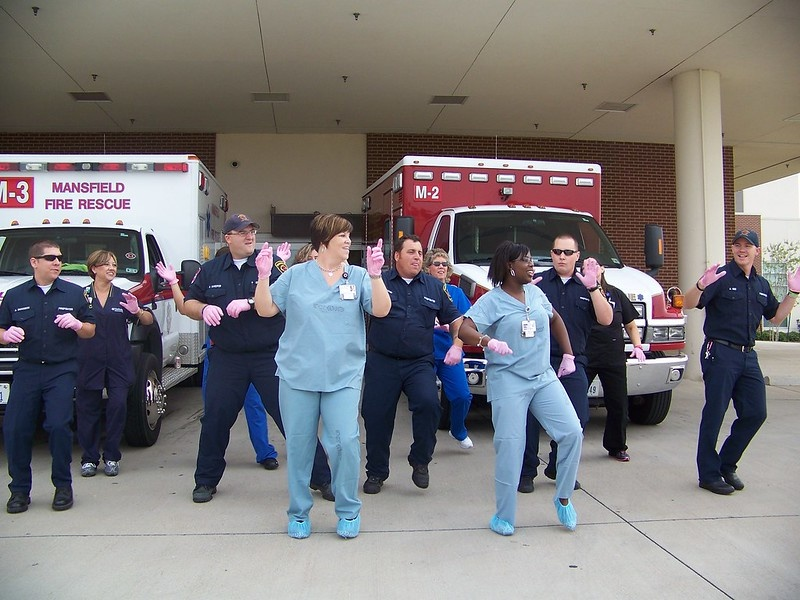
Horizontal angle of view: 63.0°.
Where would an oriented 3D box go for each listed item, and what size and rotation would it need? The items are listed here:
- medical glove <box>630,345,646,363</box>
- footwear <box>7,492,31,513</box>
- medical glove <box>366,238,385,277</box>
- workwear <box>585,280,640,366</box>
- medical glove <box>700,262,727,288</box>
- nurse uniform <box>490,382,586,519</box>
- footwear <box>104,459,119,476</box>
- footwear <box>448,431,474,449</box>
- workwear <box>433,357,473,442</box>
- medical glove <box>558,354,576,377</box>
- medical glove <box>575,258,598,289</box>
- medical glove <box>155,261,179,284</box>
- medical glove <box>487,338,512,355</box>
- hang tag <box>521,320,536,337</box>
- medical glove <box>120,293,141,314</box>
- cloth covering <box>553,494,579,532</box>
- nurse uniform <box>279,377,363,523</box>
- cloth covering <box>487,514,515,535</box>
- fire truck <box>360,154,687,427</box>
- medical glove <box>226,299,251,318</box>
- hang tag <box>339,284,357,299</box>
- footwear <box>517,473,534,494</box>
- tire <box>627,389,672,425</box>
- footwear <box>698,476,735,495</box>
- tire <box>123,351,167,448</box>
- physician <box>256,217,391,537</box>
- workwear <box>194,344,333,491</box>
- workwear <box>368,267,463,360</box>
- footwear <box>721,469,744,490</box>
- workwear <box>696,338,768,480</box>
[{"bbox_3d":[2.475,0.564,6.813,0.156,0.224,0.057,-12,12,-36],"label":"medical glove"},{"bbox_3d":[-3.195,1.696,5.505,0.155,0.151,0.203,4,7,41],"label":"footwear"},{"bbox_3d":[-0.175,-0.302,4.786,0.120,0.282,0.091,12,18,6],"label":"medical glove"},{"bbox_3d":[2.094,0.271,6.474,0.793,0.849,0.356,1,-5,-5],"label":"workwear"},{"bbox_3d":[2.847,-0.198,5.903,0.276,0.229,0.196,-1,5,-10],"label":"medical glove"},{"bbox_3d":[1.067,1.217,5.112,0.685,1.171,0.374,1,4,8],"label":"nurse uniform"},{"bbox_3d":[-2.796,1.632,6.369,0.136,0.124,0.200,-2,6,-26],"label":"footwear"},{"bbox_3d":[0.700,1.551,7.123,0.137,0.162,0.354,-5,15,-41],"label":"footwear"},{"bbox_3d":[0.545,0.915,6.585,0.323,1.043,0.225,-13,-15,21],"label":"workwear"},{"bbox_3d":[1.411,0.562,5.600,0.125,0.215,0.200,12,-10,-43],"label":"medical glove"},{"bbox_3d":[1.664,-0.222,5.647,0.188,0.261,0.067,10,9,34],"label":"medical glove"},{"bbox_3d":[-2.061,-0.224,5.809,0.143,0.211,0.303,-1,5,-17],"label":"medical glove"},{"bbox_3d":[0.763,0.368,4.961,0.188,0.141,0.226,1,5,11],"label":"medical glove"},{"bbox_3d":[0.994,0.223,5.043,0.106,0.135,0.019,1,-8,-6],"label":"hang tag"},{"bbox_3d":[-2.648,0.049,6.442,0.185,0.247,0.370,-2,5,-23],"label":"medical glove"},{"bbox_3d":[1.322,1.683,5.188,0.144,0.299,0.111,-14,-7,-2],"label":"cloth covering"},{"bbox_3d":[-0.638,1.125,5.023,0.535,0.437,1.290,5,45,-13],"label":"nurse uniform"},{"bbox_3d":[0.793,1.775,5.167,0.102,0.081,0.186,1,-5,-25],"label":"cloth covering"},{"bbox_3d":[1.326,-0.177,9.883,3.010,3.850,6.784,2,-4,-7],"label":"fire truck"},{"bbox_3d":[-1.344,0.082,5.524,0.212,0.171,0.304,-1,5,-15],"label":"medical glove"},{"bbox_3d":[-0.388,-0.056,4.877,0.123,0.106,0.056,0,4,-6],"label":"hang tag"},{"bbox_3d":[1.151,1.679,5.919,0.106,0.093,0.220,0,-8,1],"label":"footwear"},{"bbox_3d":[3.025,1.288,7.945,0.180,0.623,0.583,4,-2,-15],"label":"tire"},{"bbox_3d":[2.882,1.693,5.967,0.254,0.110,0.125,-3,2,40],"label":"footwear"},{"bbox_3d":[-2.858,1.113,7.328,0.371,1.018,0.965,-3,-3,-9],"label":"tire"},{"bbox_3d":[-0.580,0.537,4.949,0.961,2.485,0.800,0,-3,1],"label":"physician"},{"bbox_3d":[-1.150,1.022,5.577,1.221,1.910,0.461,0,27,-8],"label":"workwear"},{"bbox_3d":[0.121,0.154,5.783,0.717,0.667,0.345,7,-13,-12],"label":"workwear"},{"bbox_3d":[3.078,1.668,6.065,0.088,0.112,0.262,-2,-2,-7],"label":"footwear"},{"bbox_3d":[3.016,1.034,5.940,0.553,1.320,0.331,1,4,13],"label":"workwear"}]
